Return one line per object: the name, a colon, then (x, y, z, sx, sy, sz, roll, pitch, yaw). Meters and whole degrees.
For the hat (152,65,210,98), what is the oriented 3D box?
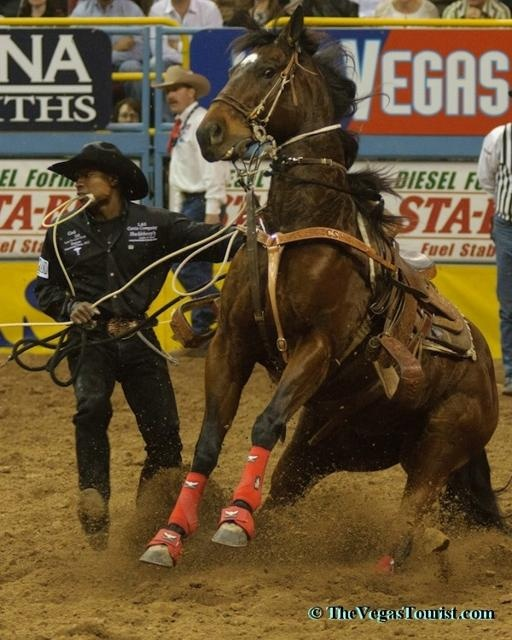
hat: (-0.505, -1.741, 6.119, 0.285, 0.096, 0.309, -16, -16, 31)

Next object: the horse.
horse: (0.398, -0.056, 3.470, 0.919, 2.270, 1.508, 3, 8, 24)
